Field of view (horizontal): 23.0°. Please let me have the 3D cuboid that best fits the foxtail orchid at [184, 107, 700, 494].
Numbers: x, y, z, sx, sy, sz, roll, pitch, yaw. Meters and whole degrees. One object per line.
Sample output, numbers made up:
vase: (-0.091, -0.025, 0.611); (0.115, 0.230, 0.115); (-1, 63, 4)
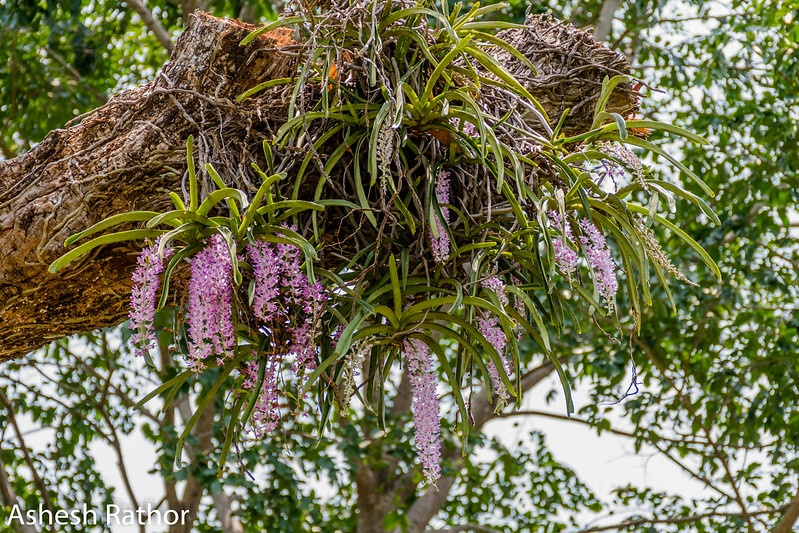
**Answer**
foxtail orchid: (0.033, -0.035, 9.187); (2.278, 1.441, 1.025); (-1, -39, 1)
